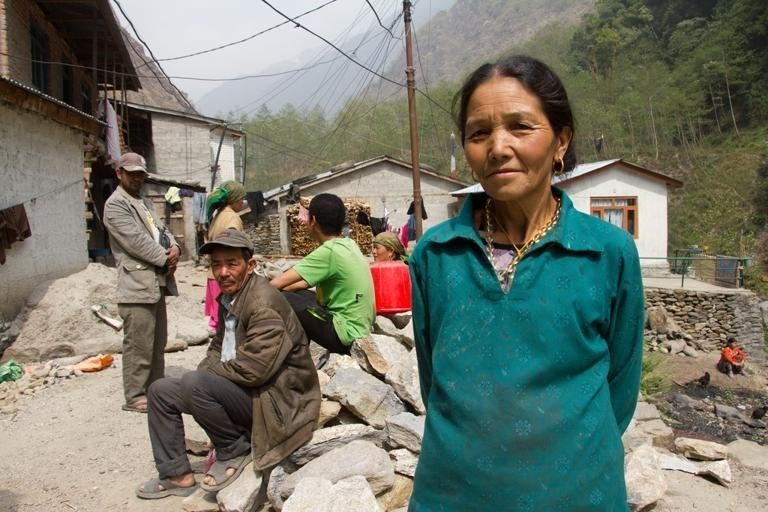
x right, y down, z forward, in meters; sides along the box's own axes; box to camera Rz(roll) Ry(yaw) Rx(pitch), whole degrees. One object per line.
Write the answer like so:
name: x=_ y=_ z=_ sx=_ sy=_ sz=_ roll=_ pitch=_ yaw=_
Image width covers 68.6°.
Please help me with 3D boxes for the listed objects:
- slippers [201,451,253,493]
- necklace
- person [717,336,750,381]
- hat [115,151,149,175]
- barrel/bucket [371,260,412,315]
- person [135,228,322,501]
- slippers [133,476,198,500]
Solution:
slippers: x=-1.435 y=1.969 z=5.180 sx=0.208 sy=0.204 sz=0.553 roll=-2 pitch=13 yaw=38
necklace: x=0.821 y=-0.107 z=3.460 sx=0.359 sy=0.351 sz=0.638 roll=5 pitch=36 yaw=1
person: x=10.625 y=3.080 z=17.292 sx=0.783 sy=1.346 sz=0.705 roll=4 pitch=1 yaw=-20
hat: x=-2.970 y=-1.109 z=6.574 sx=0.273 sy=0.202 sz=0.366 roll=9 pitch=-1 yaw=-43
barrel/bucket: x=0.071 y=0.402 z=7.492 sx=0.606 sy=0.684 sz=0.605 roll=-6 pitch=4 yaw=0
person: x=-1.355 y=1.024 z=5.285 sx=1.467 sy=2.139 sz=0.611 roll=4 pitch=1 yaw=11
slippers: x=-2.031 y=2.127 z=5.278 sx=0.410 sy=0.156 sz=0.234 roll=5 pitch=-7 yaw=-4
